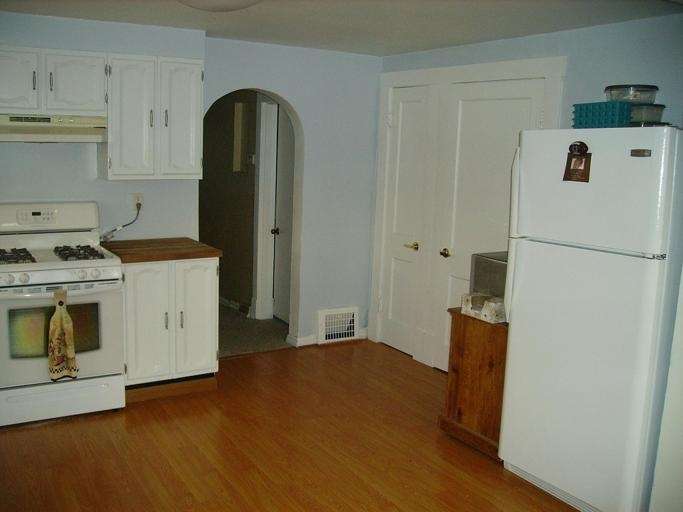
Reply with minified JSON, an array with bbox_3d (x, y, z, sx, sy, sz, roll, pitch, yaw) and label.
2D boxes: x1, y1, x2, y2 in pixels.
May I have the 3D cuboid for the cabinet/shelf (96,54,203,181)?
[{"bbox_3d":[-1.463,-1.091,4.463,0.753,1.035,0.476,0,-1,-2],"label":"cabinet/shelf"}]

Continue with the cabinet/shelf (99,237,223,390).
[{"bbox_3d":[-1.434,0.431,4.488,0.790,1.082,0.686,-1,10,-24],"label":"cabinet/shelf"}]
